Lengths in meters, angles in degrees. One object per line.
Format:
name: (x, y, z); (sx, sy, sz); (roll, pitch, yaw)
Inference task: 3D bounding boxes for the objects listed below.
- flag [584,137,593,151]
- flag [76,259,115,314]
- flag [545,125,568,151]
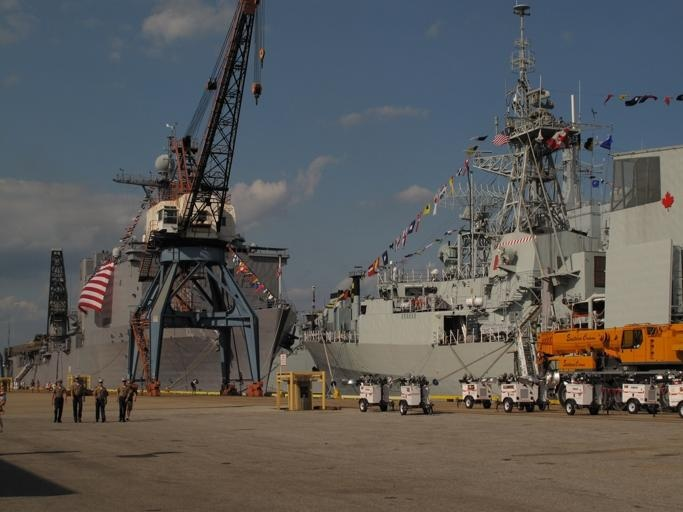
flag: (12.710, -5.793, 63.381); (0.461, 0.397, 0.706); (-1, -12, 8)
flag: (-14.133, 1.639, 71.130); (1.569, 3.054, 2.428); (4, -12, -14)
flag: (10.686, -5.859, 60.944); (0.673, 1.040, 1.749); (3, -12, -9)
